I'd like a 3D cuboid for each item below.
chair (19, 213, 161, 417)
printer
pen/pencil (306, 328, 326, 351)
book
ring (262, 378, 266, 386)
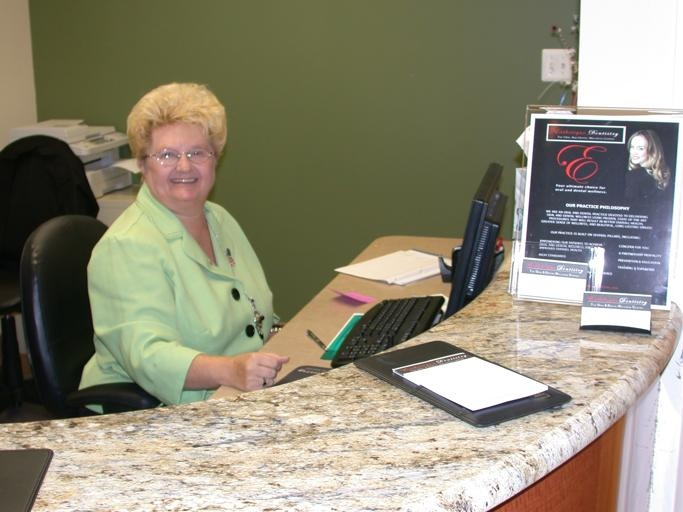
[{"bbox_3d":[-0.880,0.162,1.676,0.225,0.563,0.355,-1,12,-24],"label":"chair"},{"bbox_3d":[-1.550,-0.652,3.277,0.716,0.438,0.519,10,22,18],"label":"printer"},{"bbox_3d":[-0.083,0.244,1.622,0.026,0.008,0.093,-38,41,-11],"label":"pen/pencil"},{"bbox_3d":[0.204,0.210,0.944,0.141,0.020,0.224,-10,17,-35],"label":"book"},{"bbox_3d":[-0.189,0.294,1.279,0.008,0.019,0.017,1,15,-6],"label":"ring"}]
